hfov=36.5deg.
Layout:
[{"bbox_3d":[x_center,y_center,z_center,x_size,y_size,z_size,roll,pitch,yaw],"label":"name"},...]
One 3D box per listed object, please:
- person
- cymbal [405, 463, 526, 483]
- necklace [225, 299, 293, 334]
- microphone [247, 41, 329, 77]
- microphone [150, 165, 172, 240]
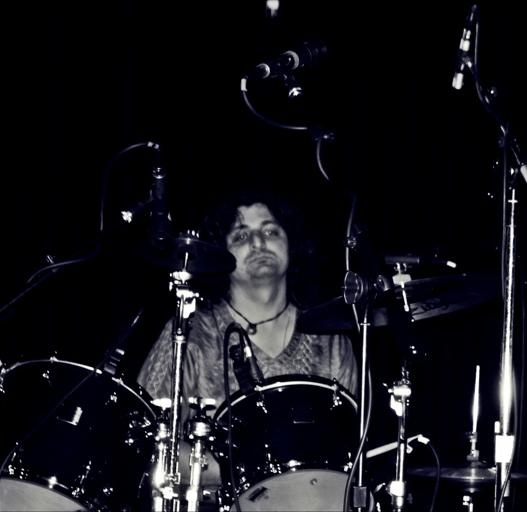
[{"bbox_3d":[-0.054,0.339,4.385,0.969,1.328,0.706,0,-30,-20],"label":"person"},{"bbox_3d":[0.857,0.917,3.369,0.506,0.077,0.265,-14,-24,38],"label":"cymbal"},{"bbox_3d":[-0.058,0.344,4.275,0.208,0.212,0.064,4,-29,-1],"label":"necklace"},{"bbox_3d":[0.075,-0.759,3.041,0.106,0.124,0.439,2,13,39],"label":"microphone"},{"bbox_3d":[-0.390,-0.193,3.055,0.087,0.249,0.181,4,-17,-7],"label":"microphone"}]
